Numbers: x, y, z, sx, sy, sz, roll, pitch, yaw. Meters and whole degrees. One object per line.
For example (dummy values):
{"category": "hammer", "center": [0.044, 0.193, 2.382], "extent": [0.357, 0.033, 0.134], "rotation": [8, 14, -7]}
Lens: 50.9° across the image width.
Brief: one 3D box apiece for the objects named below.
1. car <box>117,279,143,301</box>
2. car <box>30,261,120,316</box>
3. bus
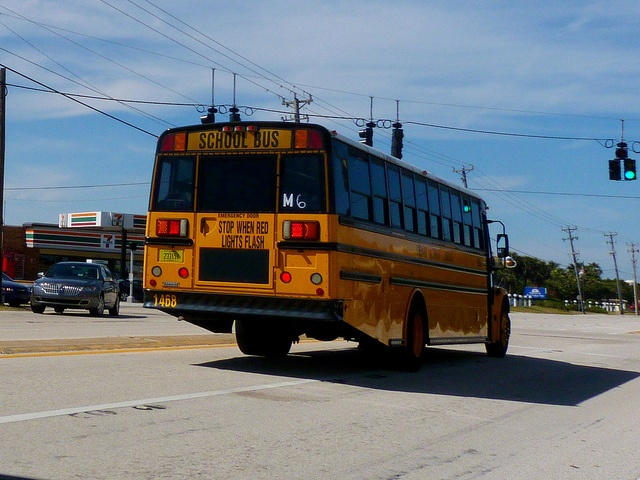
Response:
{"category": "car", "center": [-12.798, 3.407, 45.865], "extent": [1.268, 1.403, 5.279], "rotation": [3, -2, -10]}
{"category": "car", "center": [-8.088, 1.683, 22.970], "extent": [1.660, 1.816, 3.157], "rotation": [1, -3, 31]}
{"category": "bus", "center": [1.451, 0.519, 14.104], "extent": [3.285, 4.254, 10.284], "rotation": [1, -3, 38]}
